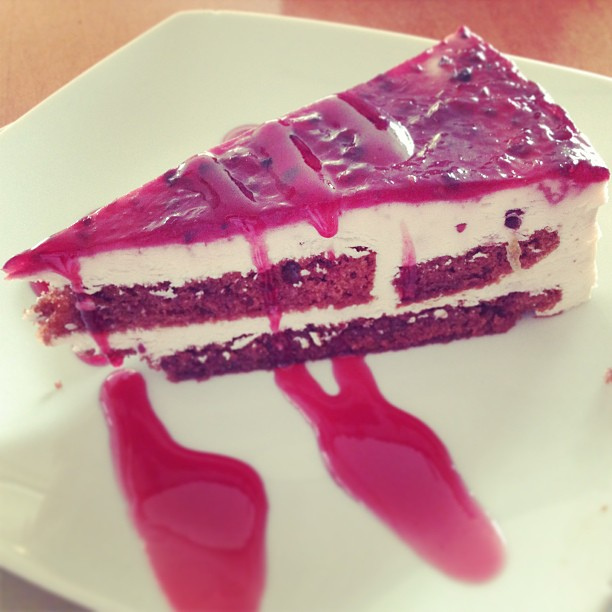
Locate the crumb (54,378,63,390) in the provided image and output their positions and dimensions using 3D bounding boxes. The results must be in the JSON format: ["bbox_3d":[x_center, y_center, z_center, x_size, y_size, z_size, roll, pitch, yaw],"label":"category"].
[{"bbox_3d":[-0.768,0.245,2.383,0.029,0.007,0.028,-1,47,-5],"label":"crumb"}]

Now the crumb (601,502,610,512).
[{"bbox_3d":[0.808,0.545,2.069,0.017,0.005,0.022,1,39,16],"label":"crumb"}]
